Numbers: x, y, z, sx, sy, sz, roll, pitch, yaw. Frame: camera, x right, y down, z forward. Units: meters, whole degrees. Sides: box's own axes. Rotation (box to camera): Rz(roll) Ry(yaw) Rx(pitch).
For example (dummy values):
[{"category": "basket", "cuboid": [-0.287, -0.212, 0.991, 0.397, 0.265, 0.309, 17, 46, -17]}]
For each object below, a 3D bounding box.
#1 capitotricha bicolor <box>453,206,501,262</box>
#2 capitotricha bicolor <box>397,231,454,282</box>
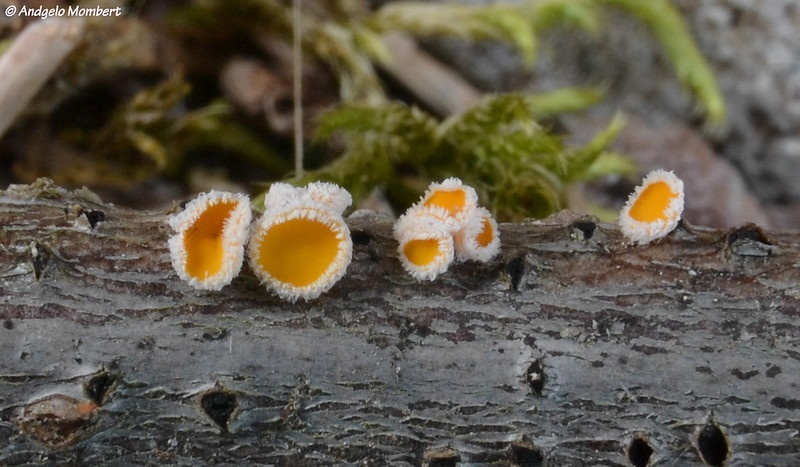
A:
[{"category": "capitotricha bicolor", "cuboid": [0.375, 0.017, 5.244, 0.126, 0.245, 0.232, -10, 84, 12]}, {"category": "capitotricha bicolor", "cuboid": [0.118, 0.102, 5.160, 0.244, 0.106, 0.213, 3, 79, -7]}]
